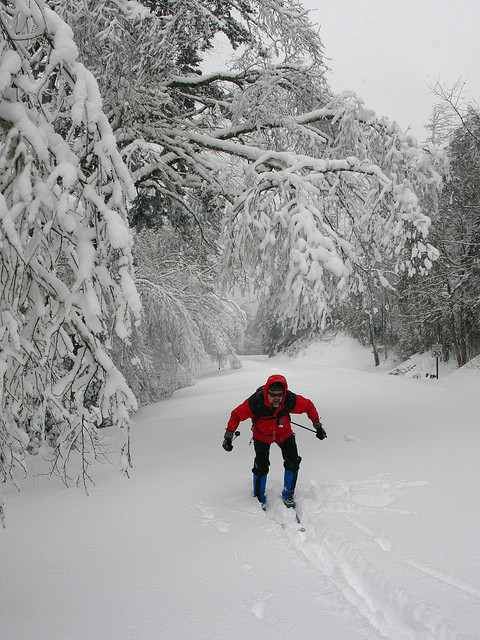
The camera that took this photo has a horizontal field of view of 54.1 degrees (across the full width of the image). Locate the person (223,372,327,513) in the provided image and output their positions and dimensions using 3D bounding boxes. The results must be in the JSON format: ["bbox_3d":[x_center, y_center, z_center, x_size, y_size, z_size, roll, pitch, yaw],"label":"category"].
[{"bbox_3d":[0.352,1.183,4.769,0.812,1.198,0.836,-4,-1,39],"label":"person"}]
